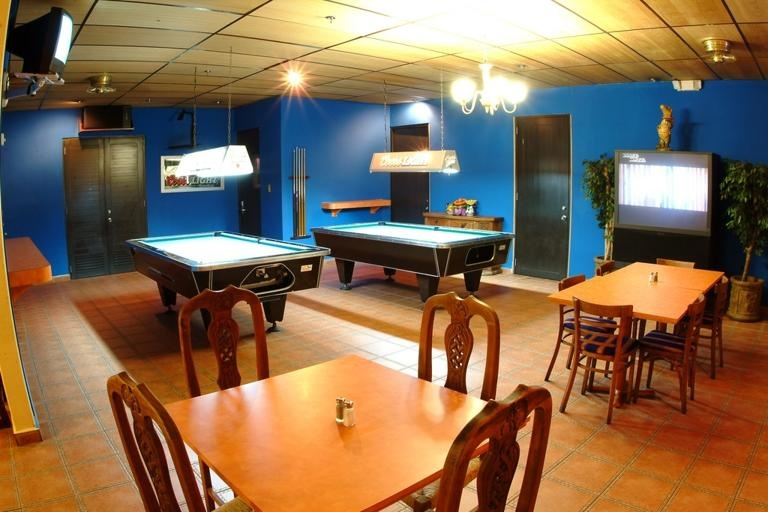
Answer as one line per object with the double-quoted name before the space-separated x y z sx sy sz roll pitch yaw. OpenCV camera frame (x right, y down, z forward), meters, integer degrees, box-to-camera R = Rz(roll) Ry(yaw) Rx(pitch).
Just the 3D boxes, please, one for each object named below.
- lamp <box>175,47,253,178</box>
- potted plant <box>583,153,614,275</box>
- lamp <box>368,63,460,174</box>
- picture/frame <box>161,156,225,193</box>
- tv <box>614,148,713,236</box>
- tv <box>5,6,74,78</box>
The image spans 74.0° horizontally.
"lamp" -2.726 -2.224 8.012 0.689 1.873 2.089 -6 10 -42
"potted plant" 3.300 -0.707 7.803 0.367 1.627 0.661 0 10 -3
"lamp" 0.605 -1.782 7.407 1.476 1.099 0.533 0 -4 43
"picture/frame" -3.339 -1.357 8.629 1.187 0.591 0.049 -2 5 -32
"tv" 3.940 -0.869 7.064 1.357 1.081 0.484 4 5 39
"tv" -2.914 -1.744 4.254 0.640 0.522 0.299 1 10 6
